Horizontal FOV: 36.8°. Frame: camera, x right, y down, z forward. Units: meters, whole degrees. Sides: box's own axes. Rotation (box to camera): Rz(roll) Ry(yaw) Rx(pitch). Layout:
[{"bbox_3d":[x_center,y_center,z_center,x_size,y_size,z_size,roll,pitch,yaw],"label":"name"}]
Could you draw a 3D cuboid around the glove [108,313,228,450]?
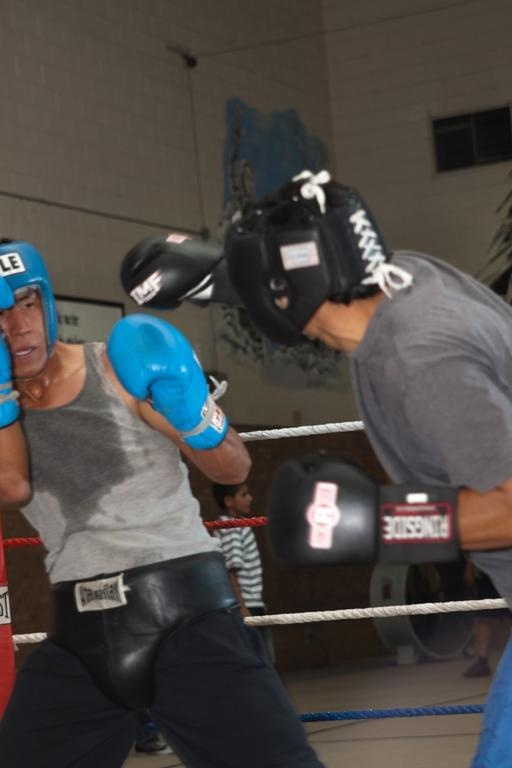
[{"bbox_3d":[-0.169,0.018,1.440,0.119,0.269,0.185,-36,31,29],"label":"glove"}]
